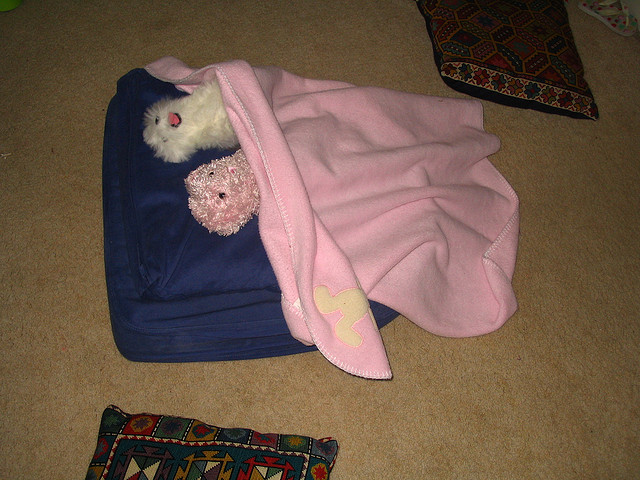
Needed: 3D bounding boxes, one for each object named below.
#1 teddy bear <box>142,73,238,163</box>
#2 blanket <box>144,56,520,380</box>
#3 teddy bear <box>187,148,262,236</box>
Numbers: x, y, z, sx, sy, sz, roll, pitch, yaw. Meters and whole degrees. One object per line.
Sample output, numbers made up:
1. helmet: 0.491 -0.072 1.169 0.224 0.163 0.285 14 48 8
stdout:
1. teddy bear: -0.460 -0.409 2.601 0.299 0.085 0.229 -17 78 -6
2. blanket: 0.111 -0.056 2.799 1.151 0.406 1.381 -11 78 -14
3. teddy bear: -0.334 -0.159 2.569 0.244 0.123 0.228 -27 79 -8
